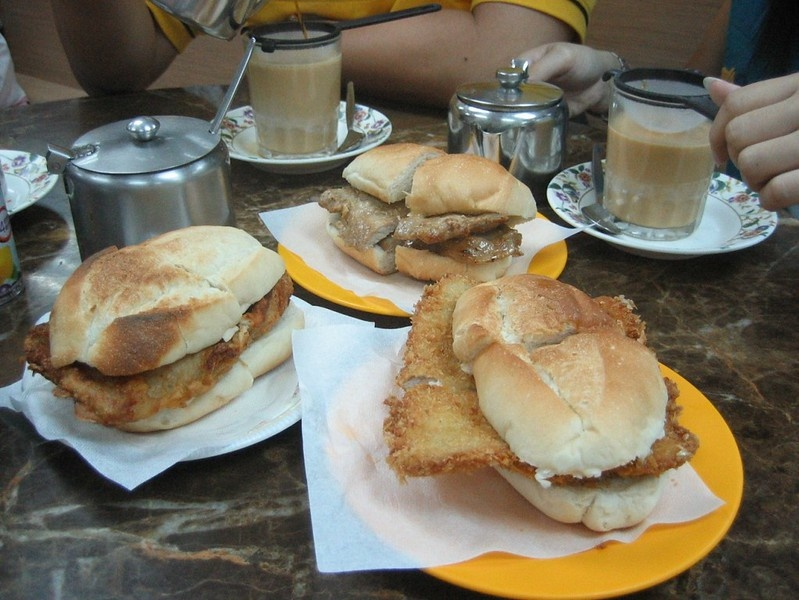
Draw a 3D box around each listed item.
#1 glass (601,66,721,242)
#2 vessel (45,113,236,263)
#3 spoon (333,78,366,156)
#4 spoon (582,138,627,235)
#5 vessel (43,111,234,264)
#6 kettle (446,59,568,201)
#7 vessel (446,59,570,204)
[{"bbox_3d":[0.794,-0.433,2.117,0.303,0.405,0.452,-25,31,-35],"label":"glass"},{"bbox_3d":[-0.741,-0.328,1.994,0.493,0.414,0.358,-7,44,-15],"label":"vessel"},{"bbox_3d":[-0.198,-0.722,2.760,0.092,0.064,0.357,-2,51,2],"label":"spoon"},{"bbox_3d":[0.699,-0.377,2.366,0.090,0.061,0.371,37,41,-26],"label":"spoon"},{"bbox_3d":[-0.751,-0.307,1.981,0.493,0.409,0.363,-11,41,-25],"label":"vessel"},{"bbox_3d":[0.436,-0.645,2.582,0.415,0.466,0.516,22,47,30],"label":"kettle"},{"bbox_3d":[0.410,-0.639,2.596,0.434,0.471,0.528,6,39,13],"label":"vessel"}]
